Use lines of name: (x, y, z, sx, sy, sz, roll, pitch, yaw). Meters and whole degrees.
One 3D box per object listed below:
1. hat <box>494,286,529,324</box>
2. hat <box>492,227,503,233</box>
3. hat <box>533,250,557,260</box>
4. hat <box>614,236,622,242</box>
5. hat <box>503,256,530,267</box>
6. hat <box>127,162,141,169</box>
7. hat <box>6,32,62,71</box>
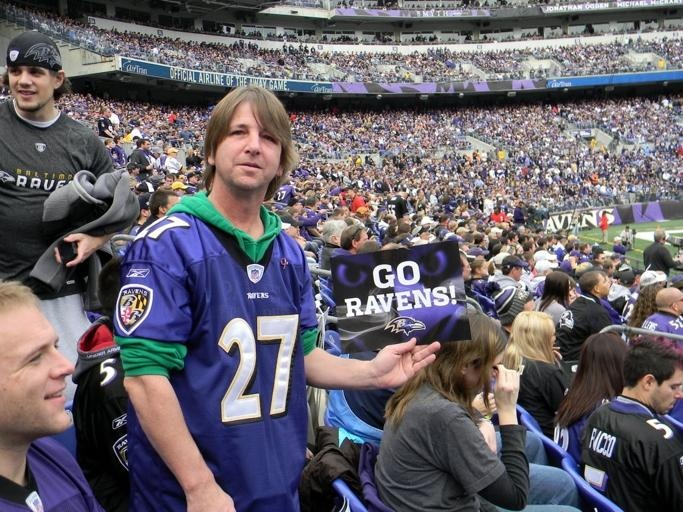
hat: (1.961, 0.573, 8.004, 0.403, 0.422, 0.329, 5, 7, 13)
hat: (3.453, -0.588, 15.372, 0.237, 0.112, 0.385, 0, 0, 5)
hat: (3.713, -0.020, 12.619, 0.433, 0.176, 0.278, -3, 5, -29)
hat: (9.026, -0.567, 22.600, 0.377, 0.172, 0.458, -1, 0, 9)
hat: (2.398, 0.073, 9.598, 0.270, 0.105, 0.169, 4, 0, -40)
hat: (-3.890, -1.687, 12.744, 0.206, 0.128, 0.262, 2, 6, -4)
hat: (-1.748, -1.194, 3.889, 0.243, 0.201, 0.255, -10, 37, -34)
